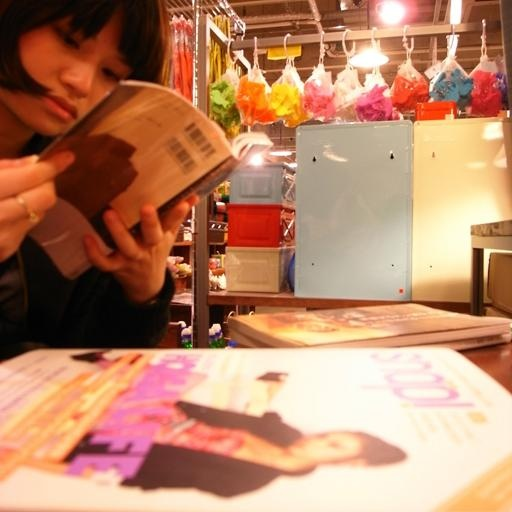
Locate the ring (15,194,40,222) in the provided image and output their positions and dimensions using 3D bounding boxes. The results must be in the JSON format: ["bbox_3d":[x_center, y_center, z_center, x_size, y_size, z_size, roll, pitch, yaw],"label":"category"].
[{"bbox_3d":[-0.289,-0.061,0.515,0.024,0.009,0.018,45,-12,11],"label":"ring"}]

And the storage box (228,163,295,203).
[{"bbox_3d":[0.022,-0.253,1.677,0.217,0.145,0.226,1,1,7],"label":"storage box"}]

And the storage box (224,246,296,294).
[{"bbox_3d":[-0.011,0.048,1.575,0.181,0.120,0.189,1,0,12],"label":"storage box"}]

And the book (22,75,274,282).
[{"bbox_3d":[-0.149,-0.123,0.546,0.282,0.079,0.213,-27,-8,-9],"label":"book"}]
